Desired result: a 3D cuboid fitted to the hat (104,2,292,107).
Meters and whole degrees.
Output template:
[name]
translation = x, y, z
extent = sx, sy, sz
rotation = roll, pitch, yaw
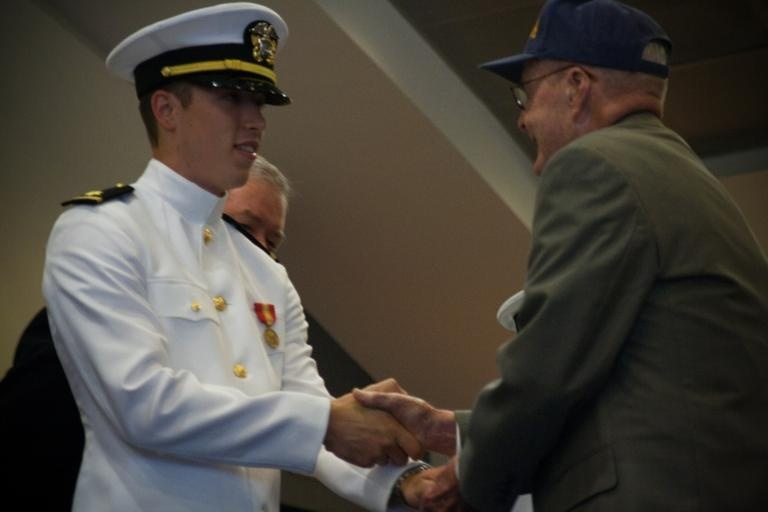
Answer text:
[hat]
translation = -0.694, -0.751, 3.450
extent = 0.485, 0.215, 0.441
rotation = 1, -6, 4
